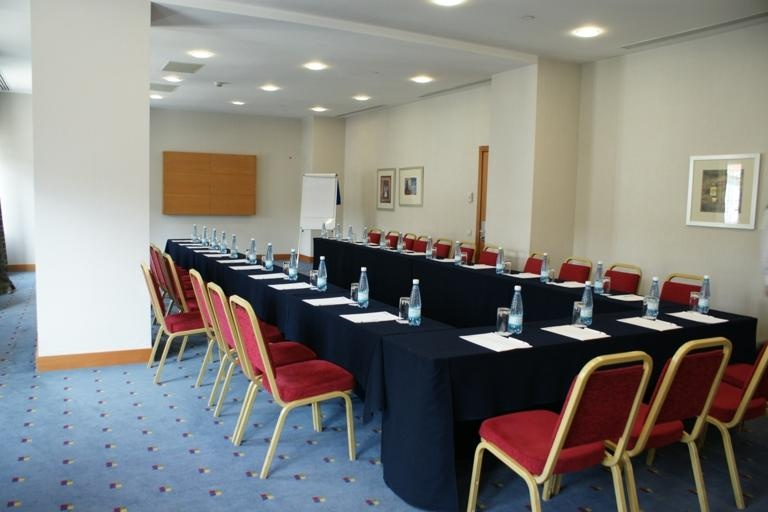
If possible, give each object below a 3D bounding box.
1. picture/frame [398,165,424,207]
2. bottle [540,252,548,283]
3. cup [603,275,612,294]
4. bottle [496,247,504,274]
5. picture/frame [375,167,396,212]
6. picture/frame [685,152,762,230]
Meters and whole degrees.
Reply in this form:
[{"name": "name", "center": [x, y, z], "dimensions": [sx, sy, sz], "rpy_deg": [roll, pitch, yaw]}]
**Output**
[{"name": "picture/frame", "center": [0.693, -1.710, 12.510], "dimensions": [0.045, 1.103, 1.038], "rpy_deg": [-2, 4, -30]}, {"name": "bottle", "center": [2.175, 0.141, 6.877], "dimensions": [0.110, 0.355, 0.559], "rpy_deg": [5, 13, 17]}, {"name": "cup", "center": [2.691, 0.358, 6.186], "dimensions": [0.087, 0.183, 0.143], "rpy_deg": [6, 13, 21]}, {"name": "bottle", "center": [1.665, 0.060, 7.288], "dimensions": [0.099, 0.349, 0.147], "rpy_deg": [4, 13, 11]}, {"name": "picture/frame", "center": [0.076, -1.750, 13.368], "dimensions": [0.093, 1.381, 1.101], "rpy_deg": [-6, 9, -36]}, {"name": "picture/frame", "center": [4.735, -0.894, 7.071], "dimensions": [0.040, 0.884, 1.018], "rpy_deg": [-2, -12, -22]}]
